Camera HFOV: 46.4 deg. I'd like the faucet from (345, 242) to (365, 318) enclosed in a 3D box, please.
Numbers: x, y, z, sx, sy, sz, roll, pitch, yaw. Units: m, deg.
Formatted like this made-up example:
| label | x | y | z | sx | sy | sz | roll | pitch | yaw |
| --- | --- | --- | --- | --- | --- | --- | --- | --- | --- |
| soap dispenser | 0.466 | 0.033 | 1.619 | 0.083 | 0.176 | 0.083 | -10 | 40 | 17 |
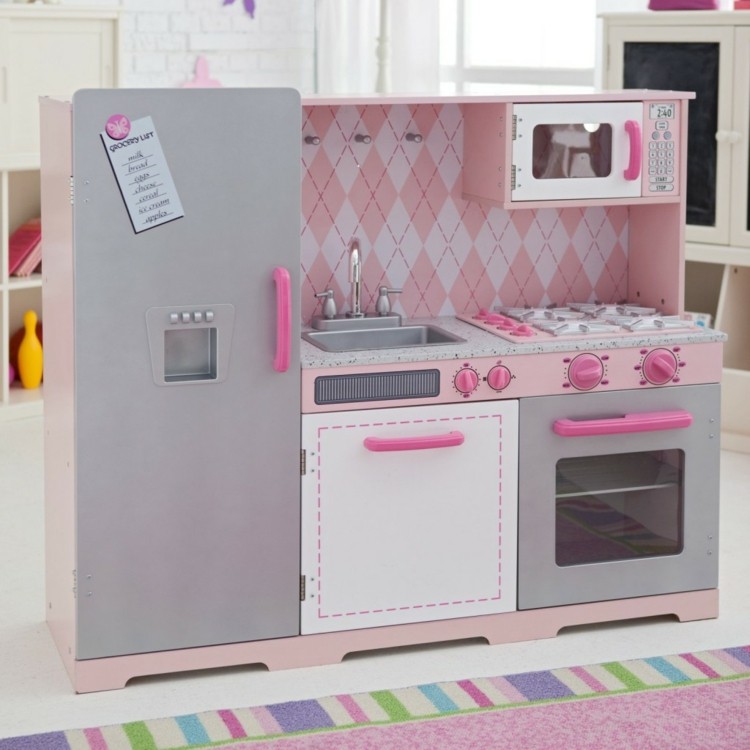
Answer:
| label | x | y | z | sx | sy | sz | roll | pitch | yaw |
| --- | --- | --- | --- | --- | --- | --- | --- | --- | --- |
| faucet | -0.058 | -0.267 | 2.398 | 0.043 | 0.211 | 0.082 | 0 | 8 | -1 |
